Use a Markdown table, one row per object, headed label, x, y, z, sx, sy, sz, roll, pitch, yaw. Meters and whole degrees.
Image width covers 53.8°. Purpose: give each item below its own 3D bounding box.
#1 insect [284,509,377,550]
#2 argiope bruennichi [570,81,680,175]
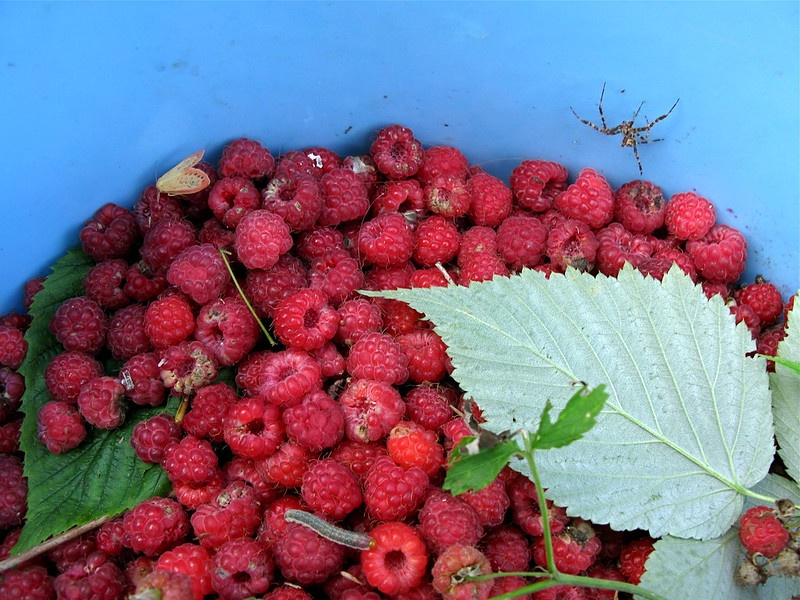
| label | x | y | z | sx | sy | sz | roll | pitch | yaw |
| --- | --- | --- | --- | --- | --- | --- | --- | --- | --- |
| insect | -0.211 | 0.674 | 2.310 | 0.283 | 0.055 | 0.096 | 21 | -16 | 2 |
| argiope bruennichi | 0.861 | -0.658 | 2.948 | 0.271 | 0.253 | 0.102 | 13 | 23 | 9 |
